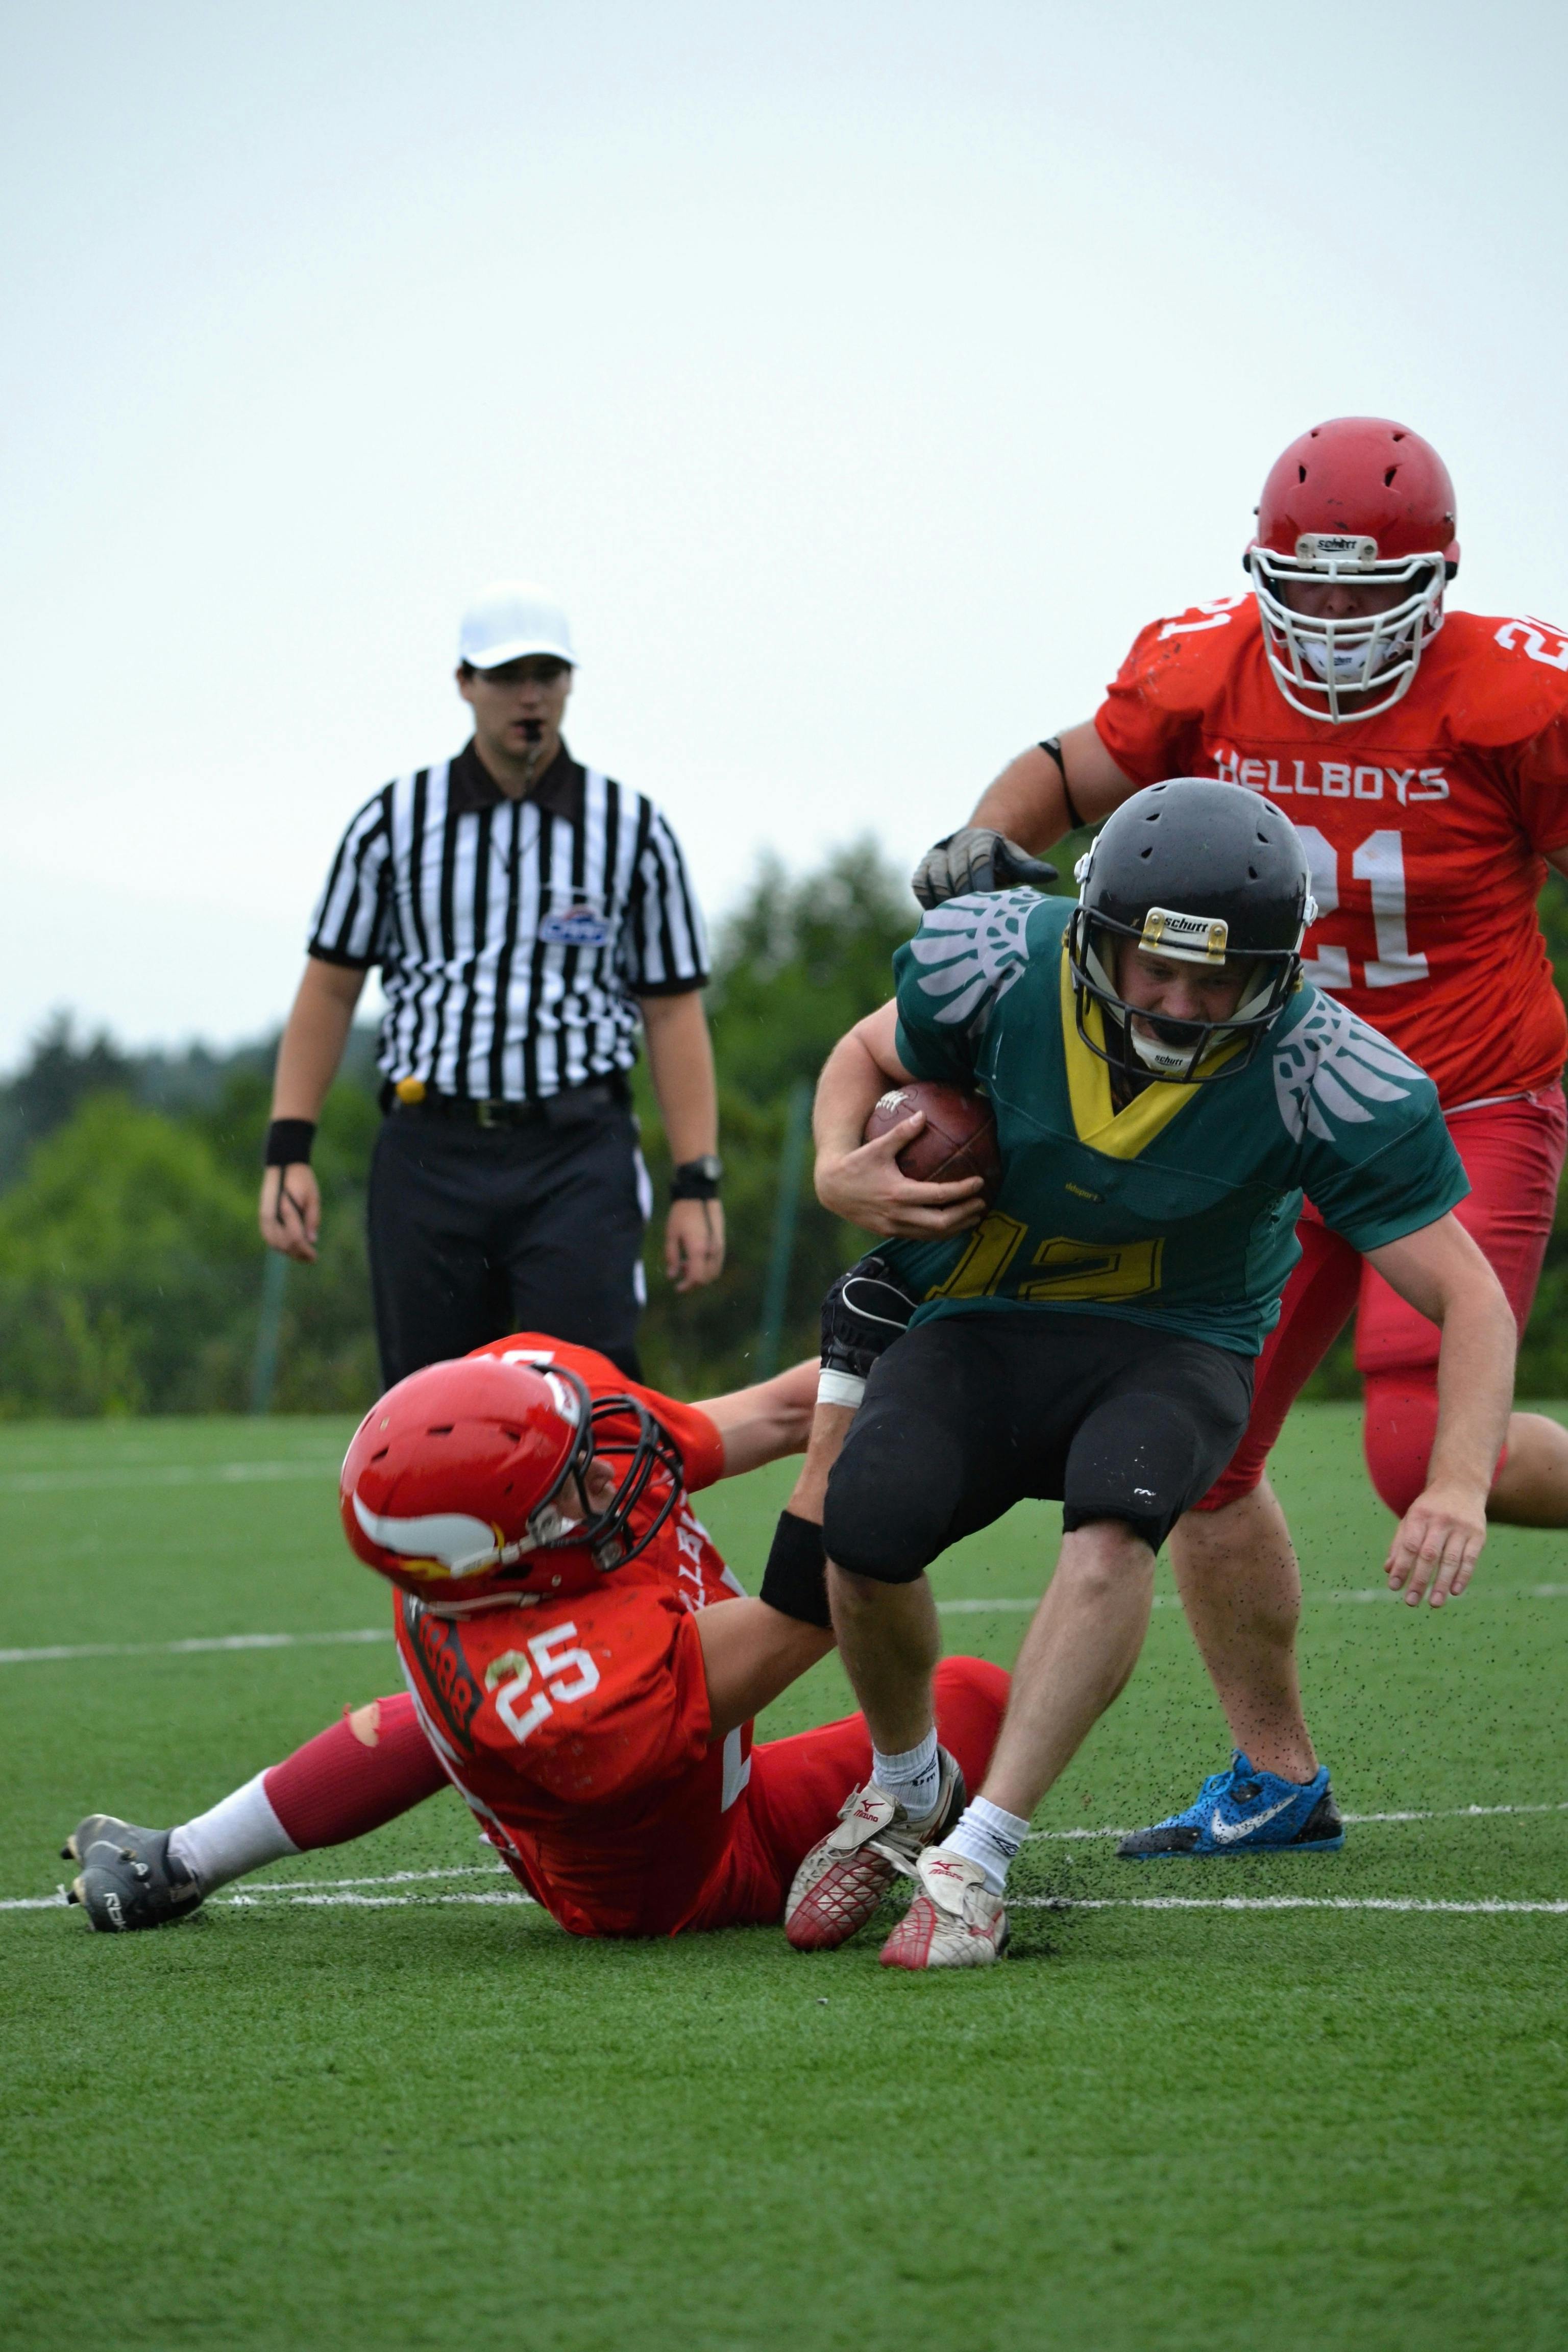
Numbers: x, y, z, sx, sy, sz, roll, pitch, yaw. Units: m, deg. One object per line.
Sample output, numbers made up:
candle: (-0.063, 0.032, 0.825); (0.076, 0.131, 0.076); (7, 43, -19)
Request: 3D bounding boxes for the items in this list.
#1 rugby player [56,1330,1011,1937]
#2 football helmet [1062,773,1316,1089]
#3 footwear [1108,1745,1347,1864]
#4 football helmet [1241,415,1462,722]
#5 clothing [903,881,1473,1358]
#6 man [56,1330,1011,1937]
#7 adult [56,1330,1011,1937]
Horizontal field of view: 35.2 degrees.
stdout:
rugby player: (-0.277, 0.514, 2.739); (1.111, 0.672, 0.782); (-1, -7, -2)
football helmet: (0.460, -0.281, 2.670); (0.280, 0.288, 0.324); (12, 28, 17)
footwear: (0.639, 0.887, 3.449); (0.381, 0.140, 0.118); (2, -7, -2)
football helmet: (0.792, -0.854, 3.463); (0.284, 0.436, 0.159); (-2, -7, 9)
clothing: (0.374, -0.041, 2.875); (0.787, 0.450, 0.350); (10, 21, 2)
man: (-0.265, 0.513, 2.733); (1.100, 0.672, 0.765); (0, -7, -4)
adult: (-0.271, 0.513, 2.735); (1.102, 0.672, 0.771); (0, -7, -3)
